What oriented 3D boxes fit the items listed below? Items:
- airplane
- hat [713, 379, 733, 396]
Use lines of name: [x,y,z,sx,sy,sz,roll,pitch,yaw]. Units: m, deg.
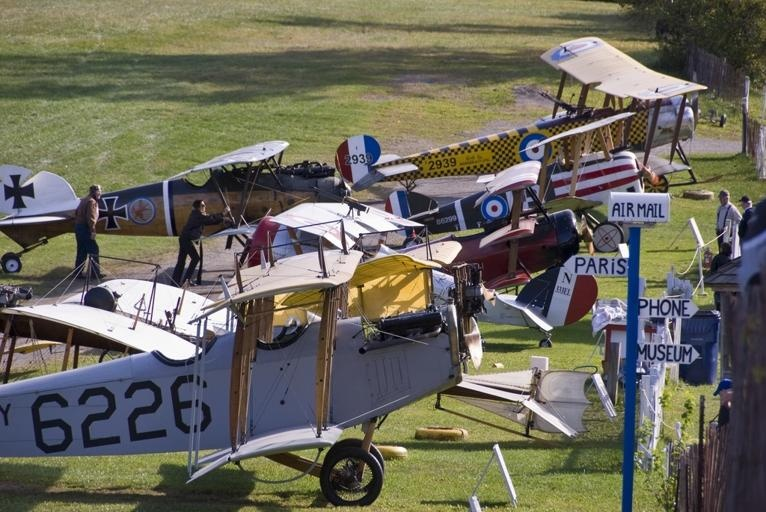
airplane: [-2.595,2.354,48.691,19.215,9.563,8.565,-2,10,-16]
hat: [10.212,4.039,45.181,0.622,0.343,0.397,-23,7,21]
